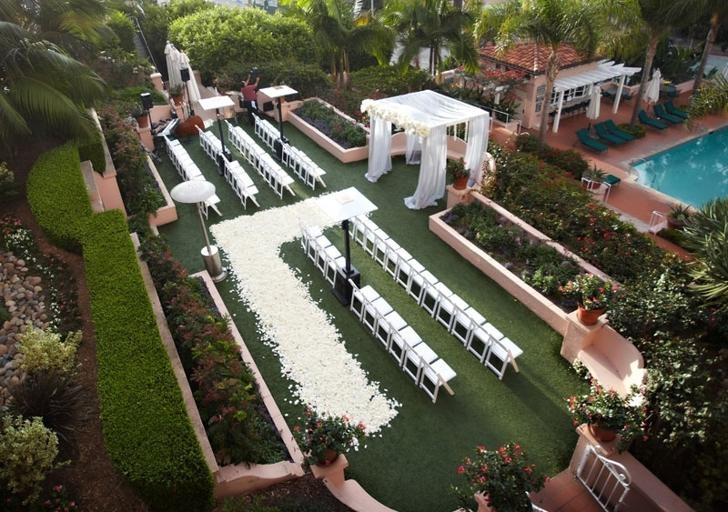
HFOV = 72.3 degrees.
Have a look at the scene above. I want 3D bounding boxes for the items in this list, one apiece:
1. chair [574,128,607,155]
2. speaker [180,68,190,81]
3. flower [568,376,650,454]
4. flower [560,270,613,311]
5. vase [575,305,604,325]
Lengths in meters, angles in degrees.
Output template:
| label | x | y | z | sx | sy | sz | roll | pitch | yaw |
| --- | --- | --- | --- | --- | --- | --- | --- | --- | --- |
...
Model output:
| label | x | y | z | sx | sy | sz | roll | pitch | yaw |
| --- | --- | --- | --- | --- | --- | --- | --- | --- | --- |
| chair | 9.277 | -4.668 | 20.345 | 0.604 | 0.602 | 1.365 | -26 | 44 | -26 |
| speaker | -7.459 | -7.626 | 20.938 | 0.382 | 0.504 | 0.261 | -20 | 40 | -19 |
| flower | 4.733 | 3.000 | 9.660 | 1.143 | 0.884 | 1.231 | -11 | 43 | -11 |
| flower | 5.230 | 0.916 | 11.802 | 0.977 | 0.705 | 0.878 | 6 | 62 | -1 |
| vase | 5.211 | 1.385 | 11.590 | 0.472 | 0.389 | 0.493 | 33 | 55 | 30 |
